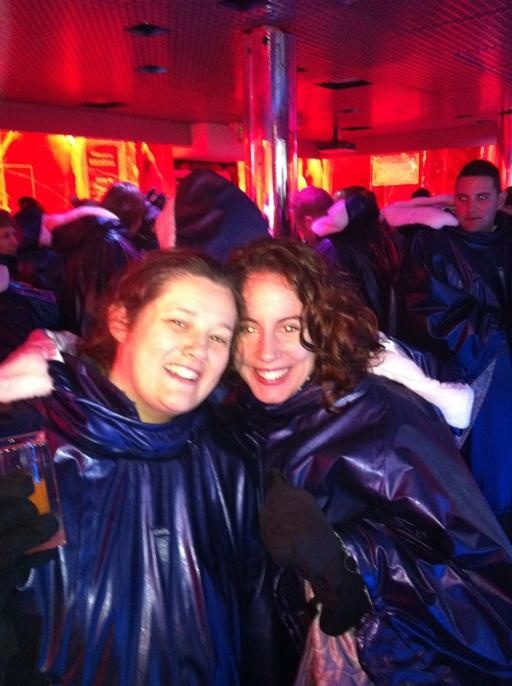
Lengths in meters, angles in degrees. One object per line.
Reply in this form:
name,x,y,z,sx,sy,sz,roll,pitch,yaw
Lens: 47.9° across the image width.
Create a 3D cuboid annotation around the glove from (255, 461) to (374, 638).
glove,0.120,0.480,1.388,0.195,0.352,0.162,-20,-5,-32
